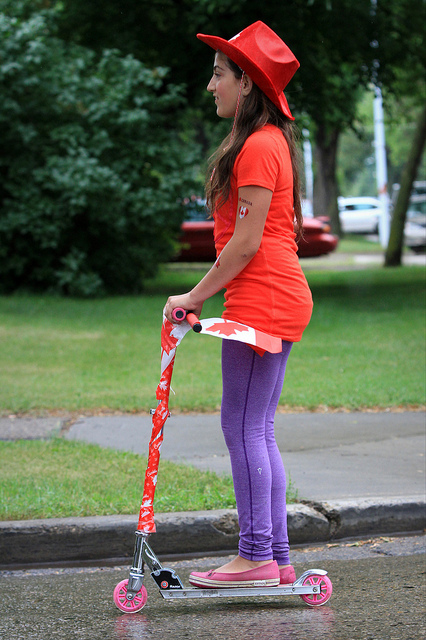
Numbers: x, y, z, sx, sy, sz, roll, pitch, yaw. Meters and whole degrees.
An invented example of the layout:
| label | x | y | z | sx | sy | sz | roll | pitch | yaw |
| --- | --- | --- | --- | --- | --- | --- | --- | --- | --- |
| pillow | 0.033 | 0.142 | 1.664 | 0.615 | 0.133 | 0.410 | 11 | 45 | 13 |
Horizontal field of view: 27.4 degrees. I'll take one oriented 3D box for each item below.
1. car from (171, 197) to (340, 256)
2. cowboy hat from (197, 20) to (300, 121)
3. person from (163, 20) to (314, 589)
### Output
| label | x | y | z | sx | sy | sz | roll | pitch | yaw |
| --- | --- | --- | --- | --- | --- | --- | --- | --- | --- |
| car | 1.332 | -2.482 | 21.757 | 4.822 | 1.340 | 1.886 | 1 | 3 | -5 |
| cowboy hat | 0.122 | -0.850 | 3.098 | 0.288 | 0.362 | 0.293 | 12 | 19 | 44 |
| person | 0.110 | 0.000 | 3.124 | 0.478 | 2.101 | 0.433 | 2 | 8 | 5 |
